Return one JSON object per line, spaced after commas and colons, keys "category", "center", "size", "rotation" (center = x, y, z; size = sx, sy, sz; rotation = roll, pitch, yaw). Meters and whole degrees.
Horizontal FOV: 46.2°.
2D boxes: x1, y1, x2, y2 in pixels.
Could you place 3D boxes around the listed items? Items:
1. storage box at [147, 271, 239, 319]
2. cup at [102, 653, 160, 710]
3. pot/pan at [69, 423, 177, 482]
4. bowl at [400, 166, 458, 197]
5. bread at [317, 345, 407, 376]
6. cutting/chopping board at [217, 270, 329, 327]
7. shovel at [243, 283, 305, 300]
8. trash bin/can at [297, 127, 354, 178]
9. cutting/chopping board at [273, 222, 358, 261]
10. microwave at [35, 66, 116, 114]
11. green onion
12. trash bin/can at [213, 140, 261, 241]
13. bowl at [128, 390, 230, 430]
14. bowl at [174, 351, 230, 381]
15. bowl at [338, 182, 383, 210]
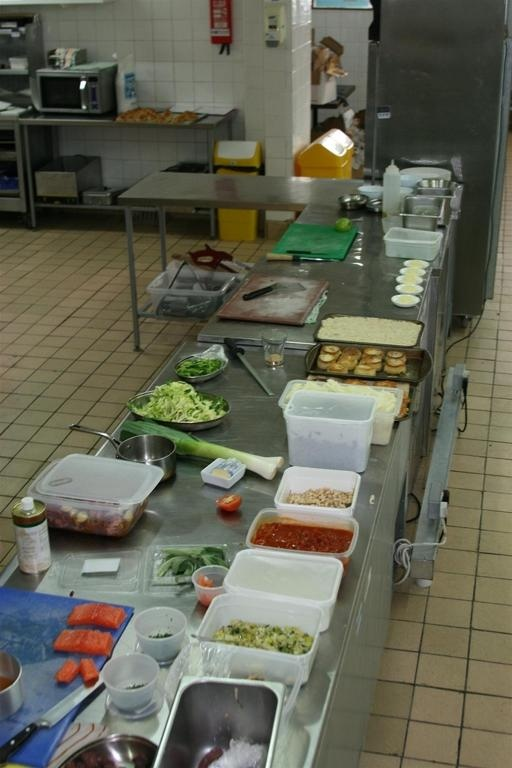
{"category": "storage box", "center": [-0.401, -0.634, 4.189], "size": [0.660, 0.389, 0.539], "rotation": [6, 29, 10]}
{"category": "cup", "center": [-0.204, 0.488, 0.973], "size": [0.090, 0.082, 0.099], "rotation": [-1, 22, 0]}
{"category": "pot/pan", "center": [-0.375, 0.187, 1.642], "size": [0.295, 0.105, 0.144], "rotation": [10, 20, -9]}
{"category": "bowl", "center": [1.158, -1.387, 4.070], "size": [0.344, 0.146, 0.541], "rotation": [4, 22, 12]}
{"category": "bread", "center": [0.365, -0.075, 2.121], "size": [0.318, 0.061, 0.225], "rotation": [6, 23, 17]}
{"category": "cutting/chopping board", "center": [0.090, -0.394, 2.766], "size": [0.406, 0.097, 0.559], "rotation": [6, 23, 17]}
{"category": "shovel", "center": [0.086, -0.442, 2.813], "size": [0.115, 0.050, 0.276], "rotation": [12, 23, 43]}
{"category": "trash bin/can", "center": [0.725, -2.523, 6.578], "size": [0.555, 0.495, 0.729], "rotation": [5, 23, 14]}
{"category": "cutting/chopping board", "center": [0.360, -0.816, 3.425], "size": [0.408, 0.126, 0.505], "rotation": [6, 30, 13]}
{"category": "microwave", "center": [-1.946, -3.158, 6.590], "size": [0.778, 0.569, 0.616], "rotation": [0, 31, 5]}
{"category": "green onion", "center": [-0.166, 0.177, 1.742], "size": [0.488, 0.081, 0.092], "rotation": [15, 20, 10]}
{"category": "trash bin/can", "center": [-0.154, -2.132, 6.535], "size": [0.523, 1.084, 0.515], "rotation": [0, 29, 2]}
{"category": "bowl", "center": [-0.240, 0.085, 1.871], "size": [0.150, 0.054, 0.163], "rotation": [-2, 22, 1]}
{"category": "bowl", "center": [-0.203, -0.051, 2.174], "size": [0.147, 0.061, 0.169], "rotation": [6, 23, 17]}
{"category": "bowl", "center": [0.691, -1.214, 3.917], "size": [0.277, 0.061, 0.201], "rotation": [-8, 41, -18]}
